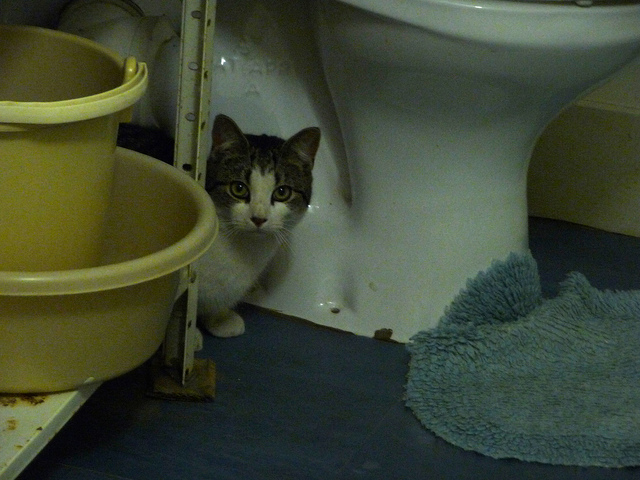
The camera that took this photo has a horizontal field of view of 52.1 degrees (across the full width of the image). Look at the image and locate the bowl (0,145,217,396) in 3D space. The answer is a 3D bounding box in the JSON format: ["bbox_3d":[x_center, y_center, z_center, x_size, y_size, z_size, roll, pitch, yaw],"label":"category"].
[{"bbox_3d":[-0.257,0.059,0.867,0.296,0.137,0.312,8,26,-4],"label":"bowl"}]

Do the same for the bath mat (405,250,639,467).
[{"bbox_3d":[0.372,0.194,1.165,0.420,0.122,0.488,16,49,9],"label":"bath mat"}]

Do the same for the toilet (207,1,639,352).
[{"bbox_3d":[0.172,-0.187,1.313,0.909,0.598,0.499,16,23,36],"label":"toilet"}]

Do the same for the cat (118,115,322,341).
[{"bbox_3d":[-0.221,-0.026,1.389,0.211,0.408,0.618,10,2,-21],"label":"cat"}]
